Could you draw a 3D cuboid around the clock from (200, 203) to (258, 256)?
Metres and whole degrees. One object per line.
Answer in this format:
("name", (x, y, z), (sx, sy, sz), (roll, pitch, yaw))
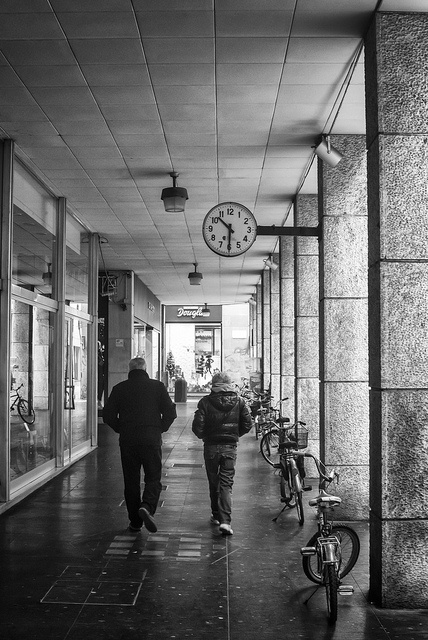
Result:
("clock", (0.173, -1.010, 6.962), (0.592, 0.738, 0.072), (2, -28, 2))

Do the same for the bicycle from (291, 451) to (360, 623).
("bicycle", (0.645, 1.277, 3.600), (0.359, 0.513, 0.791), (-1, 0, 4))

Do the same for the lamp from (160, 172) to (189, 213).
("lamp", (-0.463, -1.544, 7.413), (0.306, 0.506, 0.312), (-12, -15, 43))

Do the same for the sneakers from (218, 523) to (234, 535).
("sneakers", (0.082, 1.687, 5.068), (0.134, 0.084, 0.135), (-1, -5, 19))

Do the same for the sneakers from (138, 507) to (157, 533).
("sneakers", (-0.494, 1.502, 4.755), (0.083, 0.252, 0.098), (-16, 18, 17))

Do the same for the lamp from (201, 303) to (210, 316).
("lamp", (-0.325, -0.496, 23.336), (0.438, 0.554, 0.468), (1, -10, 0))

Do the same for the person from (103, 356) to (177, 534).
("person", (-0.620, 1.031, 5.215), (0.503, 1.413, 0.487), (-2, -5, 33))

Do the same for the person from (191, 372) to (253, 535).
("person", (0.070, 1.107, 5.421), (0.418, 1.302, 0.385), (-2, -5, 32))
